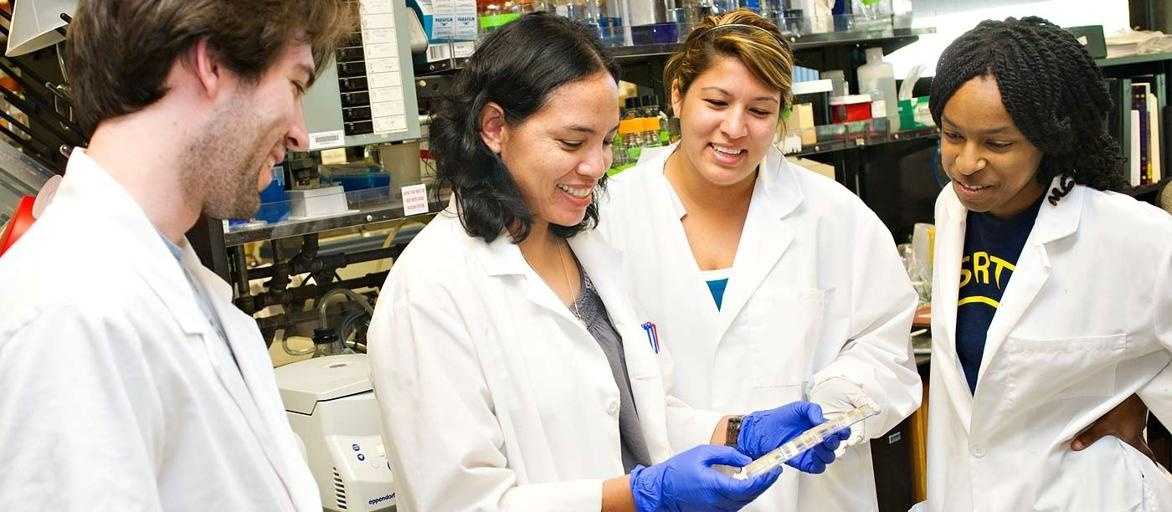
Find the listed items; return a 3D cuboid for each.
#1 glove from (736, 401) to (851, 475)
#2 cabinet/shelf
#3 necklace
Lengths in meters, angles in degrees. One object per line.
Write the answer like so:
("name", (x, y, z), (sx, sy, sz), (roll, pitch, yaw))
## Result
("glove", (0.826, 0.730, 3.273), (0.412, 0.209, 0.241), (-12, 3, 2))
("cabinet/shelf", (0.326, 0.059, 3.501), (3.496, 2.624, 0.744), (0, 8, 1))
("necklace", (-0.136, 0.090, 3.339), (0.171, 0.452, 0.071), (13, -50, -38))
